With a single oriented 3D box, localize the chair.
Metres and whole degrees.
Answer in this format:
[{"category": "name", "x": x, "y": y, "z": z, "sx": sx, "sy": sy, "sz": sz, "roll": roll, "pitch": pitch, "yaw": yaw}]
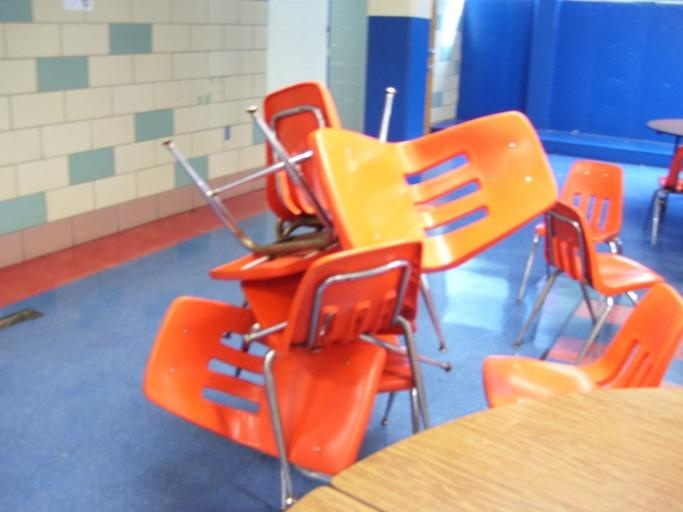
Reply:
[{"category": "chair", "x": -0.044, "y": 0.177, "z": 1.721, "sx": 1.121, "sy": 1.329, "sz": 0.759, "roll": -15, "pitch": 28, "yaw": -24}]
